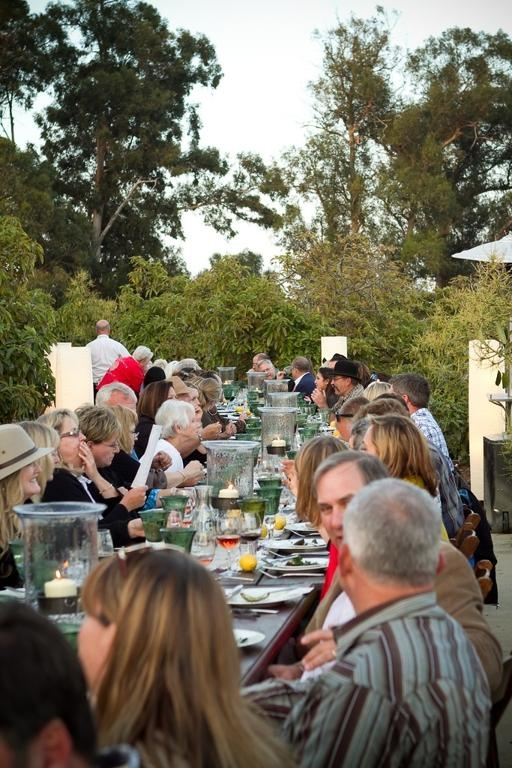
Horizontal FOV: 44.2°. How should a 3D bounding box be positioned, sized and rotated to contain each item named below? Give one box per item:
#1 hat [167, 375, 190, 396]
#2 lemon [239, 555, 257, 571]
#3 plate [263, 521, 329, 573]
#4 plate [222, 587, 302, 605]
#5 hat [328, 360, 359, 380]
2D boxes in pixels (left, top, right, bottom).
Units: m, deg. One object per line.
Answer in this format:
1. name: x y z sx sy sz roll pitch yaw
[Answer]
1. hat: -0.799 0.024 6.460 0.213 0.091 0.160 -17 6 39
2. lemon: -0.035 0.845 3.000 0.077 0.076 0.076 -5 12 1
3. plate: 0.217 0.878 3.378 0.358 0.049 0.358 -18 25 -42
4. plate: 0.035 0.860 2.575 0.187 0.027 0.183 -1 -5 5
5. hat: 1.163 -0.191 8.134 0.245 0.149 0.283 2 6 -29
